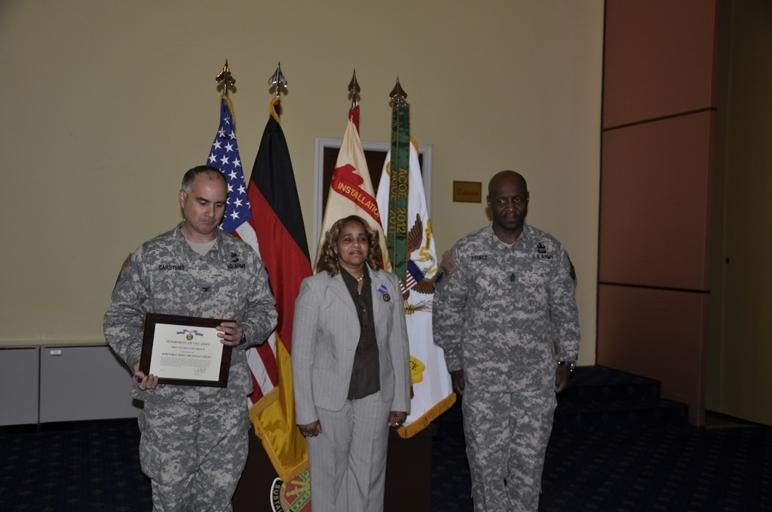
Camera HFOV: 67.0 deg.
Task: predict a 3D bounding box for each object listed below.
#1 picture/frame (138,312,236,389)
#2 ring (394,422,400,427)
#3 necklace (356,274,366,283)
[{"bbox_3d":[-1.281,0.603,3.697,0.426,0.397,0.033,5,-3,-9],"label":"picture/frame"},{"bbox_3d":[0.072,1.177,4.067,0.032,0.035,0.033,14,0,0],"label":"ring"},{"bbox_3d":[-0.184,0.148,4.045,0.044,0.042,0.010,25,-20,-11],"label":"necklace"}]
